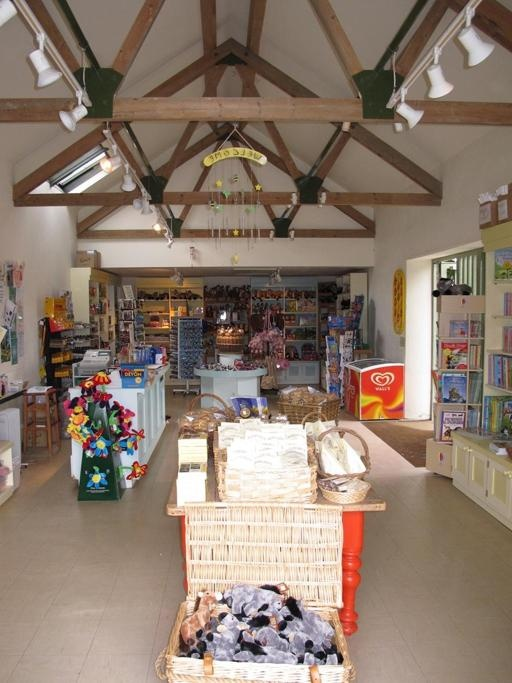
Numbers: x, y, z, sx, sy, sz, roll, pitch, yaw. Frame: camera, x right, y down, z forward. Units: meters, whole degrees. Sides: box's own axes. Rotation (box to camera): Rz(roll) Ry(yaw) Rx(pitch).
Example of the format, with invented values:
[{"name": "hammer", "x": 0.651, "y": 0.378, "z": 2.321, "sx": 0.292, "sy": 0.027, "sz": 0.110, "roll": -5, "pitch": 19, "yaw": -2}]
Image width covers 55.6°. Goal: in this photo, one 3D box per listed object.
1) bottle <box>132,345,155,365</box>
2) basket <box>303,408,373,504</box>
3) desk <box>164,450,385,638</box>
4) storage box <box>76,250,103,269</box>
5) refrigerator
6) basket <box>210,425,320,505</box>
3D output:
[{"name": "bottle", "x": -1.637, "y": 0.196, "z": 7.210, "sx": 0.333, "sy": 0.150, "sz": 0.482, "roll": -1, "pitch": 8, "yaw": -12}, {"name": "basket", "x": 0.466, "y": 0.650, "z": 2.683, "sx": 0.286, "sy": 0.244, "sz": 0.602, "roll": -1, "pitch": -5, "yaw": -1}, {"name": "desk", "x": 0.204, "y": 1.186, "z": 2.909, "sx": 1.035, "sy": 0.728, "sz": 1.112, "roll": 3, "pitch": -2, "yaw": -9}, {"name": "storage box", "x": -3.384, "y": -1.635, "z": 9.784, "sx": 0.347, "sy": 0.424, "sz": 0.611, "roll": -2, "pitch": 5, "yaw": -4}, {"name": "refrigerator", "x": 2.137, "y": 0.849, "z": 9.048, "sx": 0.847, "sy": 1.428, "sz": 1.566, "roll": 0, "pitch": -2, "yaw": -4}, {"name": "basket", "x": 0.046, "y": 0.616, "z": 2.480, "sx": 0.507, "sy": 0.301, "sz": 0.554, "roll": 0, "pitch": 2, "yaw": -5}]
